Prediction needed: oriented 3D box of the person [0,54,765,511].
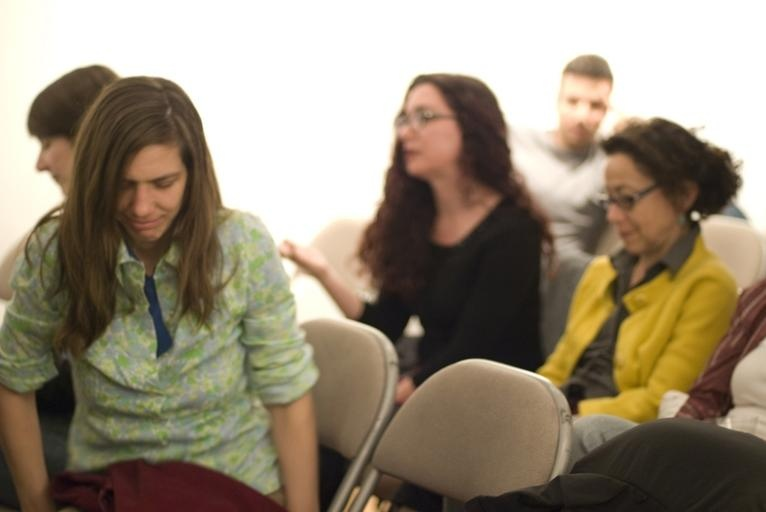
[{"bbox_3d":[0.104,0.094,2.047,1.935,1.316,0.474,3,6,23],"label":"person"}]
